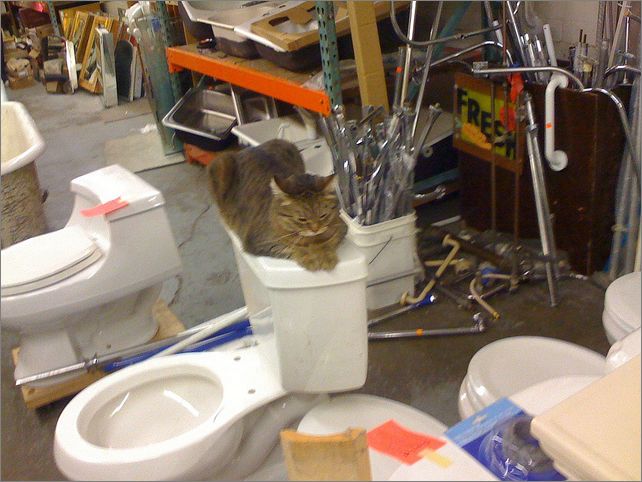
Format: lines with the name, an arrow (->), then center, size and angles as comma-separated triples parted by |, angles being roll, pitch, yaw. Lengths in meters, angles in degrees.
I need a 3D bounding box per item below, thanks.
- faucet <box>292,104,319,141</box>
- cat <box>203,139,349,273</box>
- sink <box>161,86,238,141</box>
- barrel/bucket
faucet -> -0.070, -0.656, 2.815 | 0.083, 0.159, 0.335 | -9, 36, -7
cat -> -0.131, -0.130, 1.542 | 0.289, 0.247, 0.479 | -17, 44, -17
sink -> -0.904, -0.895, 3.907 | 0.480, 0.181, 0.562 | 14, 55, 16
barrel/bucket -> 0.224, 0.052, 1.997 | 0.295, 0.337, 0.234 | -22, 38, -8
